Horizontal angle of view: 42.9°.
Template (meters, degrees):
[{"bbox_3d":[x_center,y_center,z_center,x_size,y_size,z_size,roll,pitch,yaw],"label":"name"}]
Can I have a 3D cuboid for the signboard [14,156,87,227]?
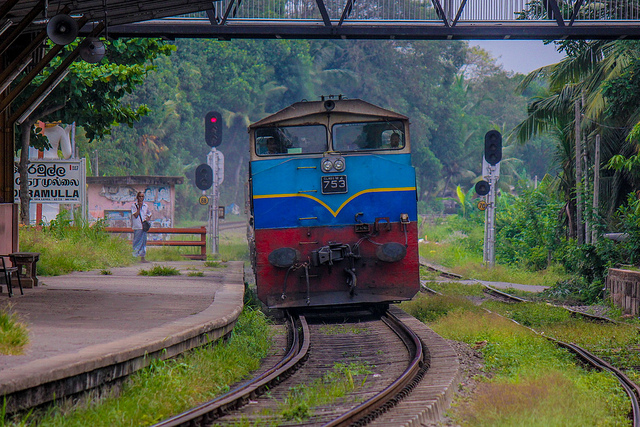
[{"bbox_3d":[-7.749,-0.654,23.494,2.289,1.927,0.236,1,2,-7],"label":"signboard"}]

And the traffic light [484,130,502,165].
[{"bbox_3d":[5.969,-2.237,28.045,0.580,1.345,0.141,-2,-26,17],"label":"traffic light"}]

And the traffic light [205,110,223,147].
[{"bbox_3d":[-3.881,-3.119,29.826,0.596,1.283,0.556,1,-2,6],"label":"traffic light"}]

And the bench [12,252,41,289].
[{"bbox_3d":[-6.725,1.307,18.435,0.773,0.701,0.735,-2,-6,-2],"label":"bench"}]

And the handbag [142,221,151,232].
[{"bbox_3d":[-5.315,0.386,25.098,0.238,0.447,0.356,-5,13,-12],"label":"handbag"}]

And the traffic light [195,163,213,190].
[{"bbox_3d":[-4.352,-1.405,30.888,0.724,0.957,0.597,1,-2,5],"label":"traffic light"}]

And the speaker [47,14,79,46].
[{"bbox_3d":[-5.305,-3.782,16.853,0.570,0.633,0.621,1,10,-16],"label":"speaker"}]
